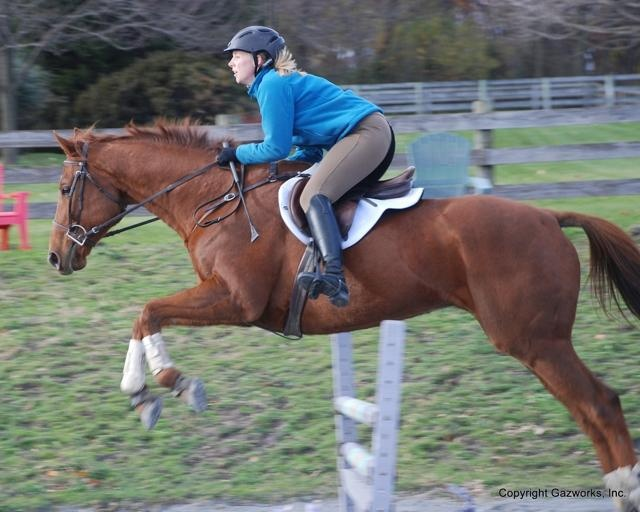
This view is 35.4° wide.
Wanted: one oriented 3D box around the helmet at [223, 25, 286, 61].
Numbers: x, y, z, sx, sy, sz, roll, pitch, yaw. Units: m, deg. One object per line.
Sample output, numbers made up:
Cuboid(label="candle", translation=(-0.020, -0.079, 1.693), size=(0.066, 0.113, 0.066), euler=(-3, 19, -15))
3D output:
Cuboid(label="helmet", translation=(-0.497, -1.706, 7.977), size=(0.497, 0.197, 0.287), euler=(-9, 13, -4))

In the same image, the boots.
Cuboid(label="boots", translation=(0.017, -0.038, 7.548), size=(0.362, 0.839, 0.349), euler=(-2, 9, -2))
